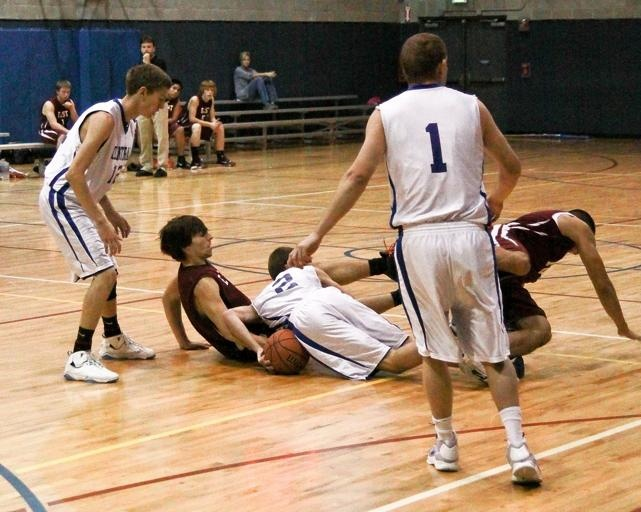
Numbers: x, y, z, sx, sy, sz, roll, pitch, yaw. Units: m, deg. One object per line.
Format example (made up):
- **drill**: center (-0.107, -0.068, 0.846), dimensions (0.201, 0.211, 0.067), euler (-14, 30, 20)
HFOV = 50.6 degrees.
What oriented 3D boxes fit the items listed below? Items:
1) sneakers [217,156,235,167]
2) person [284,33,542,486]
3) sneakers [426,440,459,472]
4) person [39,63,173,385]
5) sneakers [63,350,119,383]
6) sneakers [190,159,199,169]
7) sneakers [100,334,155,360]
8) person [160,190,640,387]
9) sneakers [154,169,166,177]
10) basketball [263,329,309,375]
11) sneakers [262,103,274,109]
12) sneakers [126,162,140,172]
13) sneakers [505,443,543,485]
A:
- **sneakers**: center (-2.093, -2.194, 15.631), dimensions (0.555, 0.227, 0.190), euler (7, 21, 21)
- **person**: center (0.371, -0.012, 2.466), dimensions (0.690, 1.579, 0.399), euler (0, 8, 16)
- **sneakers**: center (0.448, 0.728, 2.493), dimensions (0.067, 0.086, 0.151), euler (1, 0, -3)
- **person**: center (-1.190, -0.220, 3.931), dimensions (0.746, 1.770, 0.655), euler (-8, 9, -38)
- **sneakers**: center (-1.276, 0.623, 3.816), dimensions (0.346, 0.154, 0.141), euler (4, 3, 15)
- **sneakers**: center (-2.734, -1.991, 14.881), dimensions (0.233, 0.211, 0.344), euler (-4, 7, -11)
- **sneakers**: center (-1.178, 0.547, 4.236), dimensions (0.398, 0.172, 0.138), euler (3, 9, -4)
- **person**: center (0.930, 0.184, 3.495), dimensions (1.399, 0.647, 0.825), euler (-10, 0, -19)
- **sneakers**: center (-3.273, -1.711, 13.910), dimensions (0.155, 0.119, 0.290), euler (-1, 4, -1)
- **basketball**: center (-0.158, 0.518, 3.892), dimensions (0.250, 0.239, 0.236), euler (-20, 3, 2)
- **sneakers**: center (-1.364, -4.102, 18.532), dimensions (0.326, 0.158, 0.084), euler (-4, 7, -19)
- **sneakers**: center (-4.319, -2.042, 15.658), dimensions (0.177, 0.192, 0.506), euler (-4, -4, -2)
- **sneakers**: center (0.681, 0.688, 2.254), dimensions (0.078, 0.090, 0.193), euler (-15, -28, 9)
